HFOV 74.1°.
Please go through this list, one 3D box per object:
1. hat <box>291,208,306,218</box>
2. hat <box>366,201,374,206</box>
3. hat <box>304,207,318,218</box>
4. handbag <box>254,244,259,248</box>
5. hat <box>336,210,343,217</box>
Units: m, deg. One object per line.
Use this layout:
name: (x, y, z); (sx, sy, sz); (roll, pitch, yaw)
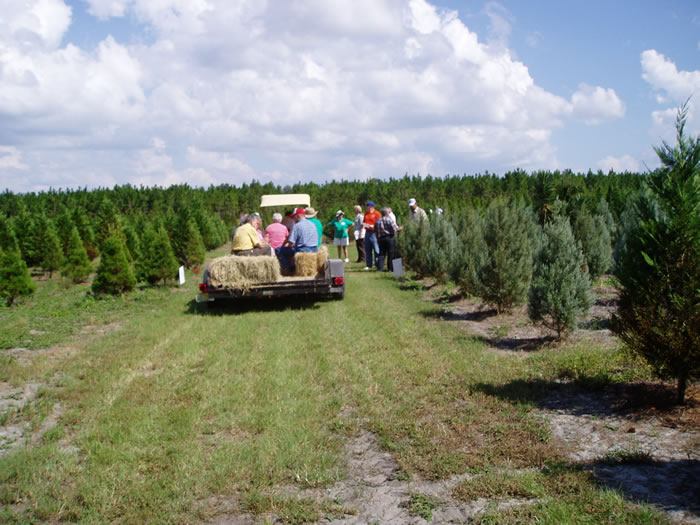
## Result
hat: (-1.566, -1.597, 14.653); (0.388, 0.210, 0.489); (-2, 0, -13)
hat: (0.794, -2.327, 18.253); (0.231, 0.168, 0.299); (1, 4, -35)
hat: (-1.264, -1.682, 15.373); (0.313, 0.313, 0.973); (-2, 13, -4)
handbag: (-2.465, -0.440, 12.487); (0.136, 0.106, 0.067); (0, 12, 3)
hat: (-0.401, -2.166, 20.494); (0.374, 0.256, 0.591); (-2, 7, 1)
